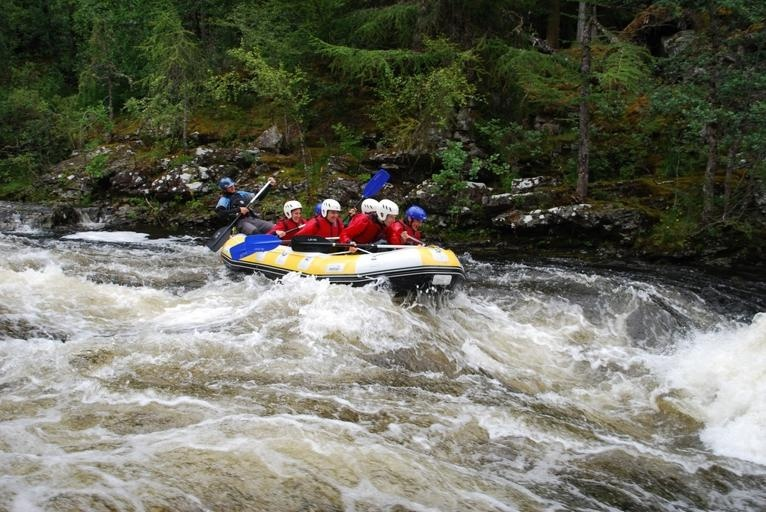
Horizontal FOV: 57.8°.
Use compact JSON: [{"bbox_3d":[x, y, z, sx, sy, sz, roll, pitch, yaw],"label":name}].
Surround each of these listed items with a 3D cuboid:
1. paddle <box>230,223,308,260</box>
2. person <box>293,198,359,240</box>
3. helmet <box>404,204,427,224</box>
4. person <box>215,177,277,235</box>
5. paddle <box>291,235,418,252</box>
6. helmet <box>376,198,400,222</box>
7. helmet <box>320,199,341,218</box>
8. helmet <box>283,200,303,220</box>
[{"bbox_3d":[-2.610,-0.367,16.225,2.004,0.544,0.253,-17,-4,-9],"label":"paddle"},{"bbox_3d":[-1.398,-0.949,17.547,0.717,1.602,1.298,28,32,36],"label":"person"},{"bbox_3d":[0.764,-0.982,15.971,0.472,0.311,0.331,5,17,-7],"label":"helmet"},{"bbox_3d":[-3.980,-1.433,20.155,1.119,0.944,2.318,-35,-39,28],"label":"person"},{"bbox_3d":[-1.050,-0.266,15.866,2.028,0.273,0.831,1,0,8],"label":"paddle"},{"bbox_3d":[0.101,-1.096,15.817,0.564,0.445,0.400,15,30,18],"label":"helmet"},{"bbox_3d":[-1.214,-1.190,16.295,0.409,0.376,0.478,4,39,-15],"label":"helmet"},{"bbox_3d":[-2.337,-1.194,17.216,0.618,0.407,0.436,3,14,31],"label":"helmet"}]
